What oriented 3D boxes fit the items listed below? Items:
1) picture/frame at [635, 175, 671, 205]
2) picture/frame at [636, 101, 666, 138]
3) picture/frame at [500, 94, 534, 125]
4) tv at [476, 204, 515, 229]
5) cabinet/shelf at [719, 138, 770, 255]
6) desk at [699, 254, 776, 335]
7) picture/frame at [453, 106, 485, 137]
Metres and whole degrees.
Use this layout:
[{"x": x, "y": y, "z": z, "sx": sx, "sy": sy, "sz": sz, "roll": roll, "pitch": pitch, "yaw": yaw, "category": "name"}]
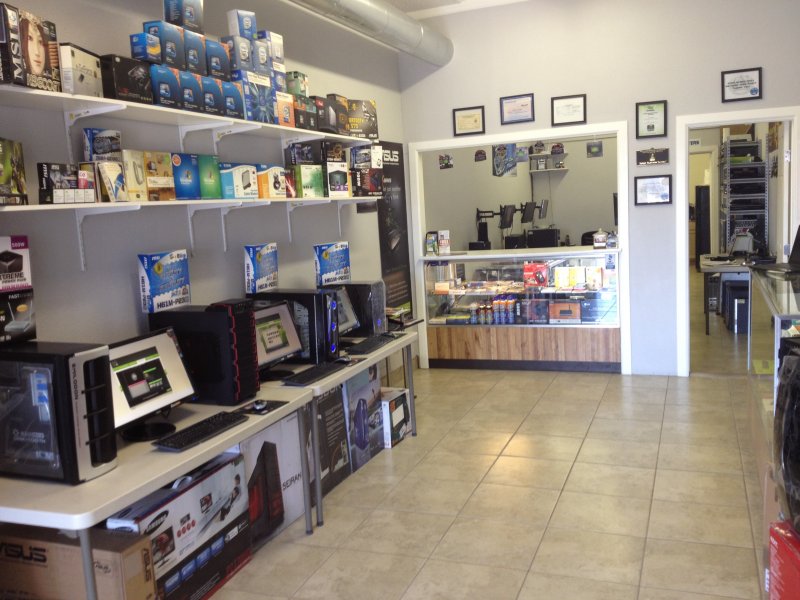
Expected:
[{"x": 2.490, "y": -1.081, "z": 5.894, "sx": 0.280, "sy": 0.250, "sz": 0.023, "roll": 2, "pitch": 9, "yaw": 19, "category": "picture/frame"}, {"x": 2.431, "y": -1.746, "z": 5.811, "sx": 0.333, "sy": 0.432, "sz": 0.044, "roll": 2, "pitch": 14, "yaw": 19, "category": "picture/frame"}, {"x": 1.219, "y": -1.963, "z": 6.202, "sx": 0.320, "sy": 0.275, "sz": 0.029, "roll": 1, "pitch": 3, "yaw": 28, "category": "picture/frame"}, {"x": 1.447, "y": -1.279, "z": 9.220, "sx": 0.471, "sy": 0.312, "sz": 0.453, "roll": 2, "pitch": 6, "yaw": 15, "category": "tv"}, {"x": 5.698, "y": -1.736, "z": 10.149, "sx": 0.735, "sy": 2.205, "sz": 0.593, "roll": 10, "pitch": -16, "yaw": -2, "category": "cabinet/shelf"}, {"x": 4.520, "y": -0.034, "z": 8.442, "sx": 0.937, "sy": 0.856, "sz": 1.756, "roll": 2, "pitch": 0, "yaw": 15, "category": "desk"}, {"x": 0.746, "y": -1.893, "z": 6.382, "sx": 0.324, "sy": 0.289, "sz": 0.027, "roll": 2, "pitch": 8, "yaw": 25, "category": "picture/frame"}]
